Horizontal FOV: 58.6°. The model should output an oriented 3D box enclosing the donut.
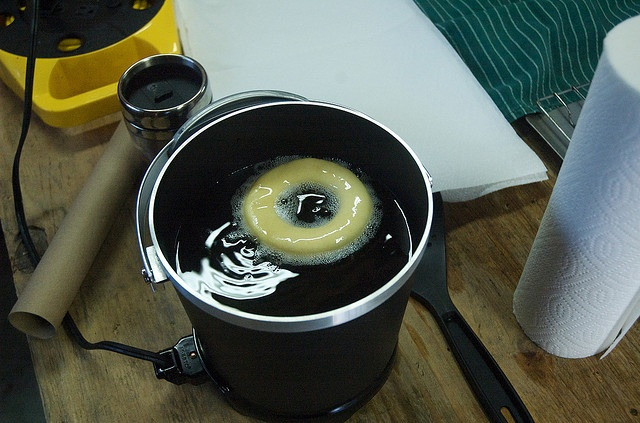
[{"bbox_3d":[-0.013,-0.004,0.612,0.143,0.018,0.119,-16,62,-10],"label":"donut"}]
